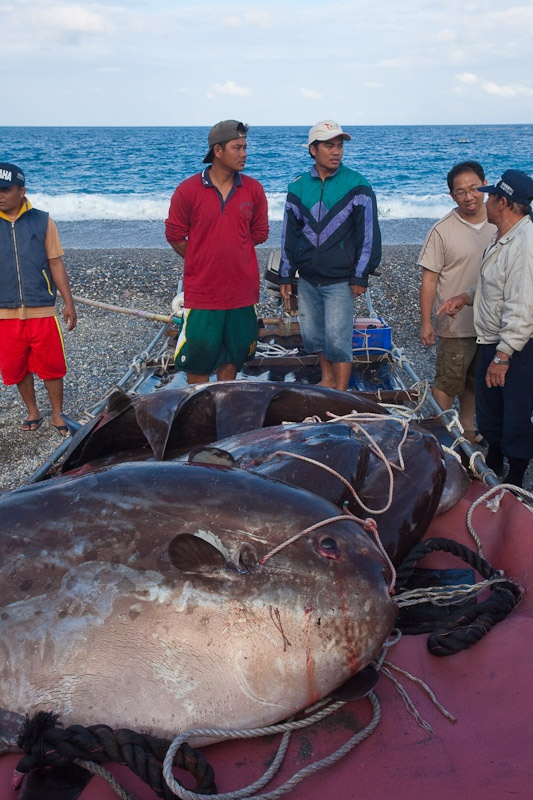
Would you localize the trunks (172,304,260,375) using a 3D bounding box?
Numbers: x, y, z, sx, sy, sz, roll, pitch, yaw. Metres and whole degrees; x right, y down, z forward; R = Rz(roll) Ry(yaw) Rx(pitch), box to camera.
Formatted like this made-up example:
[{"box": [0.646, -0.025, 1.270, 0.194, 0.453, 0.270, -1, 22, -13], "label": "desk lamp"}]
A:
[{"box": [-0.333, -0.469, 4.653, 0.592, 0.505, 0.315, -8, 22, -25], "label": "trunks"}]

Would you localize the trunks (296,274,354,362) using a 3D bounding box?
[{"box": [0.402, -0.614, 4.990, 0.358, 0.726, 0.215, 4, 36, 12], "label": "trunks"}]

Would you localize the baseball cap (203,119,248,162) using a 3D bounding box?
[{"box": [-0.244, -1.533, 4.144, 0.251, 0.244, 0.357, 1, 21, -4], "label": "baseball cap"}]

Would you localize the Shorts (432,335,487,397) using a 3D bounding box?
[{"box": [1.261, -0.236, 4.614, 0.375, 0.592, 0.475, 1, 13, 16], "label": "Shorts"}]
